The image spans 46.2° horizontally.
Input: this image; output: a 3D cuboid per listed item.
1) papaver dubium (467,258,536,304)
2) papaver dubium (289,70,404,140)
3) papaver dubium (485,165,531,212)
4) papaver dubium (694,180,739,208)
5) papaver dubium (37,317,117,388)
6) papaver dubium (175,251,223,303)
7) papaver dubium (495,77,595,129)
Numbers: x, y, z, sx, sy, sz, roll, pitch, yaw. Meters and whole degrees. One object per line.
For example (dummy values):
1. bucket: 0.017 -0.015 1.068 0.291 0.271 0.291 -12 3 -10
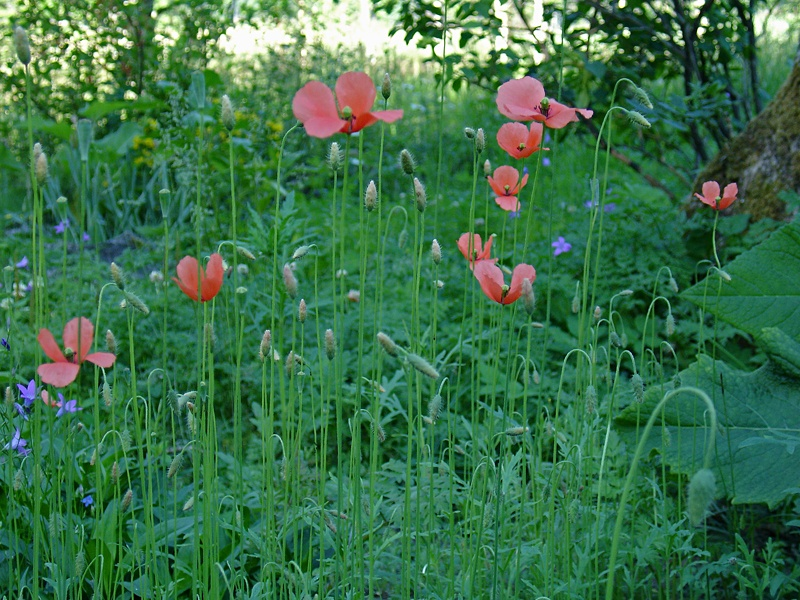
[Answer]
1. papaver dubium: 0.387 -0.039 3.524 0.222 0.166 0.234 9 6 20
2. papaver dubium: -0.184 -0.688 3.318 0.359 0.232 0.257 5 8 29
3. papaver dubium: 0.458 -0.475 3.862 0.194 0.100 0.211 15 3 -26
4. papaver dubium: 1.366 -0.440 4.034 0.120 0.126 0.560 3 8 17
5. papaver dubium: -1.117 0.169 3.230 0.249 0.239 0.237 -2 8 -22
6. papaver dubium: -0.711 -0.068 3.342 0.166 0.181 0.308 -1 7 -12
7. papaver dubium: 0.548 -0.753 3.651 0.304 0.152 0.381 2 -13 8
